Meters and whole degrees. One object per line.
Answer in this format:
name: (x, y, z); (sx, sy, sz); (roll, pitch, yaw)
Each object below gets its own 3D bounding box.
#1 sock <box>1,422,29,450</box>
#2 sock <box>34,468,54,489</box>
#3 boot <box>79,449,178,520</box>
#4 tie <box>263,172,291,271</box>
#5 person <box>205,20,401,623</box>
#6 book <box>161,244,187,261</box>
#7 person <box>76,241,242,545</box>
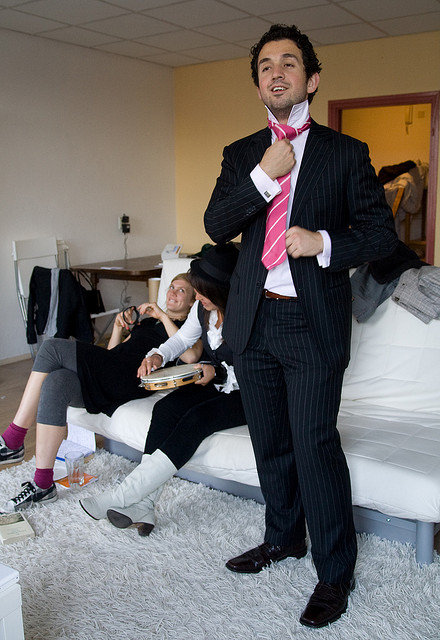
sock: (-0.962, 0.547, 2.189); (0.092, 0.148, 0.119); (-6, 5, -34)
sock: (-0.709, 0.631, 1.875); (0.067, 0.092, 0.054); (-5, 5, -24)
boot: (-0.305, 0.556, 1.568); (0.318, 0.213, 0.088); (-4, 5, -16)
tie: (0.125, -0.222, 1.054); (0.061, 0.202, 0.010); (7, 7, 35)
person: (0.182, 0.007, 1.210); (0.367, 1.392, 0.392); (-7, 9, -35)
book: (-0.487, -0.694, 4.754); (0.201, 0.154, 0.454); (-3, 4, -8)
person: (-0.157, 0.219, 1.859); (0.426, 0.736, 1.175); (2, 17, 17)
